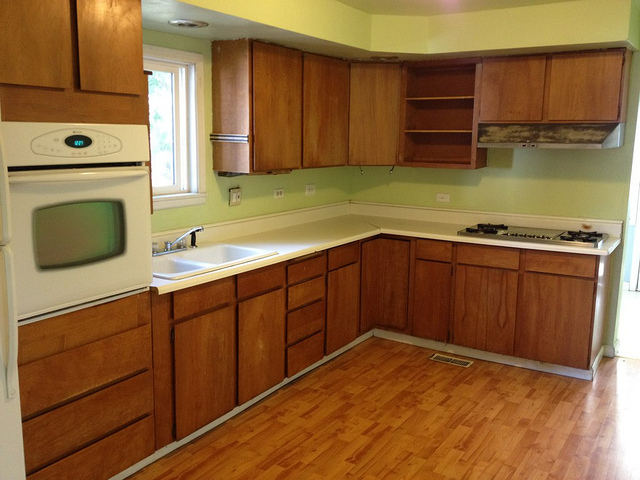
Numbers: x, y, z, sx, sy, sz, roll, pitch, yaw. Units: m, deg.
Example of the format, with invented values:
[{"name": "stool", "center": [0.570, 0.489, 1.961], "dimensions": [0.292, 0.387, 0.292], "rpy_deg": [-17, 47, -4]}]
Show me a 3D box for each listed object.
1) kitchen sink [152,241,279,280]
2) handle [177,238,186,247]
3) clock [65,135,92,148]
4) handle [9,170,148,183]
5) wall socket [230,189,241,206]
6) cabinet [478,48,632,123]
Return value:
[{"name": "kitchen sink", "center": [-0.732, 0.148, 3.334], "dimensions": [0.515, 0.107, 0.622], "rpy_deg": [11, 14, 34]}, {"name": "handle", "center": [-1.008, 0.014, 3.552], "dimensions": [0.061, 0.061, 0.056], "rpy_deg": [-12, 27, -37]}, {"name": "clock", "center": [-1.167, -0.475, 2.332], "dimensions": [0.007, 0.054, 0.105], "rpy_deg": [5, 8, 27]}, {"name": "handle", "center": [-1.140, -0.307, 2.358], "dimensions": [0.036, 0.046, 0.649], "rpy_deg": [13, 18, 41]}, {"name": "wall socket", "center": [-0.707, -0.356, 4.023], "dimensions": [0.022, 0.132, 0.132], "rpy_deg": [5, 8, 31]}, {"name": "cabinet", "center": [1.941, -1.251, 4.020], "dimensions": [1.312, 0.599, 0.553], "rpy_deg": [14, 16, 34]}]
